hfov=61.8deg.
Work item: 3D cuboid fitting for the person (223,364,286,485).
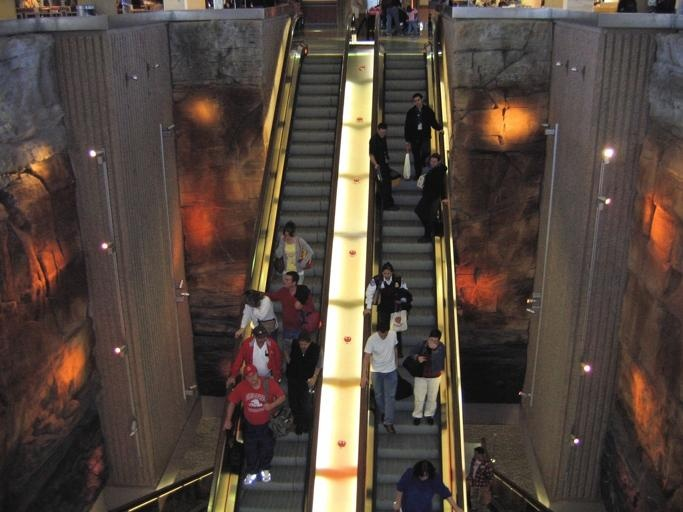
[{"bbox_3d":[-1.156,2.253,7.601,0.862,1.675,0.507,-6,11,-20],"label":"person"}]

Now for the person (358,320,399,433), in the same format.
[{"bbox_3d":[0.512,1.688,7.887,0.478,1.468,1.064,1,-10,3],"label":"person"}]

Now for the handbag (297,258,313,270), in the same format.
[{"bbox_3d":[-0.586,0.138,9.150,0.182,0.190,0.134,2,35,8],"label":"handbag"}]

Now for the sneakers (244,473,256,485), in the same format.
[{"bbox_3d":[-1.258,3.061,7.889,0.105,0.077,0.192,1,-45,-15],"label":"sneakers"}]

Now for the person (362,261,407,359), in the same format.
[{"bbox_3d":[0.680,0.819,8.435,0.647,1.491,0.547,-2,25,3],"label":"person"}]

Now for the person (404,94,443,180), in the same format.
[{"bbox_3d":[1.555,-2.286,10.898,0.713,1.596,0.525,-5,35,8],"label":"person"}]

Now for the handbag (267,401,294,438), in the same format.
[{"bbox_3d":[-0.861,2.189,7.960,0.405,0.501,0.236,-9,-18,22],"label":"handbag"}]

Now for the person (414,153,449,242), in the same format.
[{"bbox_3d":[1.610,-1.010,10.205,0.500,1.552,0.887,-11,40,-14],"label":"person"}]

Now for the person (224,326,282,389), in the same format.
[{"bbox_3d":[-1.196,1.550,7.816,0.776,1.454,0.437,-4,35,-10],"label":"person"}]

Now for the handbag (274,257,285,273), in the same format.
[{"bbox_3d":[-0.994,0.130,9.146,0.149,0.222,0.111,-32,23,-24],"label":"handbag"}]

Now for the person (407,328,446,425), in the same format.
[{"bbox_3d":[1.186,1.654,7.940,0.531,1.325,0.489,1,9,-16],"label":"person"}]

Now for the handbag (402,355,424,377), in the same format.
[{"bbox_3d":[0.962,1.484,7.809,0.216,0.319,0.277,1,8,0],"label":"handbag"}]

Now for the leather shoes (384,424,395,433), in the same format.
[{"bbox_3d":[0.695,2.474,8.277,0.094,0.192,0.074,-14,0,39],"label":"leather shoes"}]

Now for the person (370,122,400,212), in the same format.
[{"bbox_3d":[0.761,-1.584,10.380,0.483,1.286,1.158,0,-10,12],"label":"person"}]

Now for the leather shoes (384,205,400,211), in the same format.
[{"bbox_3d":[0.958,-0.902,10.720,0.299,0.105,0.215,-2,10,-16],"label":"leather shoes"}]

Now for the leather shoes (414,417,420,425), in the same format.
[{"bbox_3d":[1.097,2.415,8.400,0.105,0.115,0.068,-12,-13,32],"label":"leather shoes"}]

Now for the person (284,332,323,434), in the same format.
[{"bbox_3d":[-0.554,1.763,7.929,0.461,1.492,0.448,3,11,-4],"label":"person"}]
